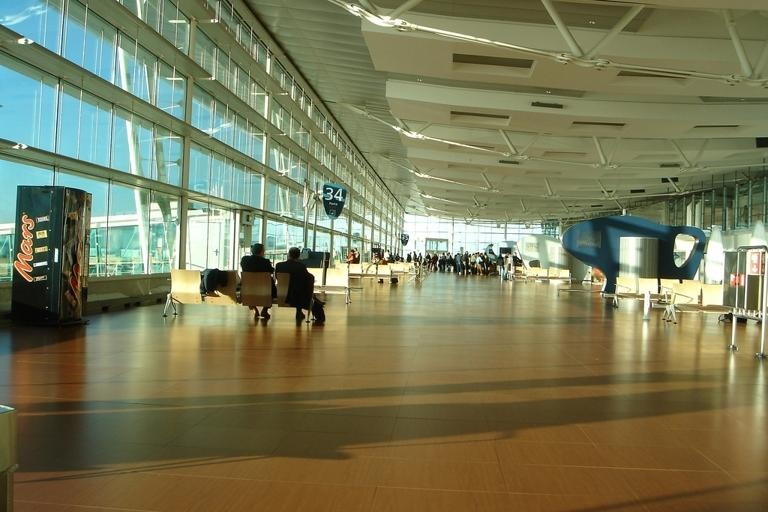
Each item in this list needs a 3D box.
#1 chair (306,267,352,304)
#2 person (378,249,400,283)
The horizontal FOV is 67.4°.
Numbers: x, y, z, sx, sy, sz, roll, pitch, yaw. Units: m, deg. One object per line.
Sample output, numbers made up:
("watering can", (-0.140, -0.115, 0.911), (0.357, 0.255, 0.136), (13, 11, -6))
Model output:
("chair", (-1.636, 0.853, 16.789), (1.374, 0.756, 0.549), (0, -2, 10))
("person", (0.228, 0.584, 33.322), (0.921, 0.931, 2.368), (7, 6, 11))
